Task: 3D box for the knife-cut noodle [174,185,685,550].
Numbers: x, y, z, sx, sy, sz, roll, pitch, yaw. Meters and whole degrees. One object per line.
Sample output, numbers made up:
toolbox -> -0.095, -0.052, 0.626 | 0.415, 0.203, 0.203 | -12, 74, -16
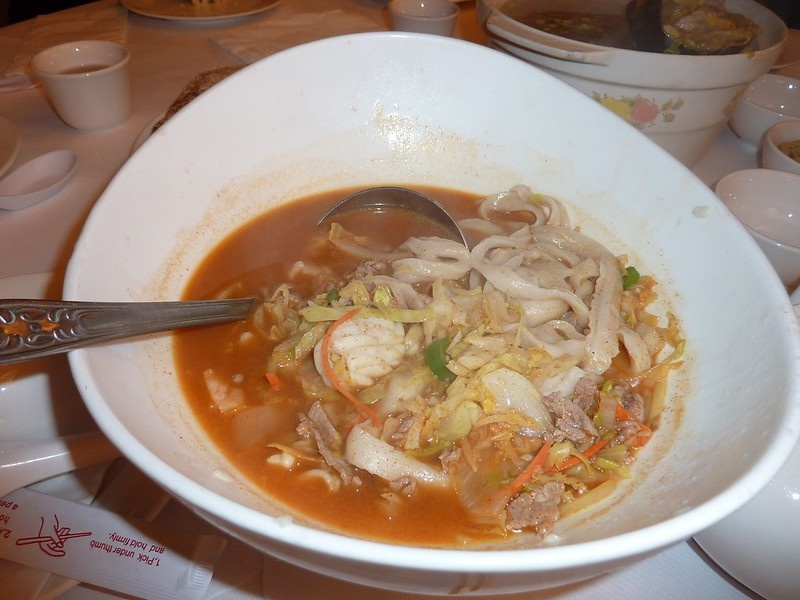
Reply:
knife-cut noodle -> 0.123, 0.018, 3.543 | 3.291, 2.439, 1.165 | -3, -72, -10
